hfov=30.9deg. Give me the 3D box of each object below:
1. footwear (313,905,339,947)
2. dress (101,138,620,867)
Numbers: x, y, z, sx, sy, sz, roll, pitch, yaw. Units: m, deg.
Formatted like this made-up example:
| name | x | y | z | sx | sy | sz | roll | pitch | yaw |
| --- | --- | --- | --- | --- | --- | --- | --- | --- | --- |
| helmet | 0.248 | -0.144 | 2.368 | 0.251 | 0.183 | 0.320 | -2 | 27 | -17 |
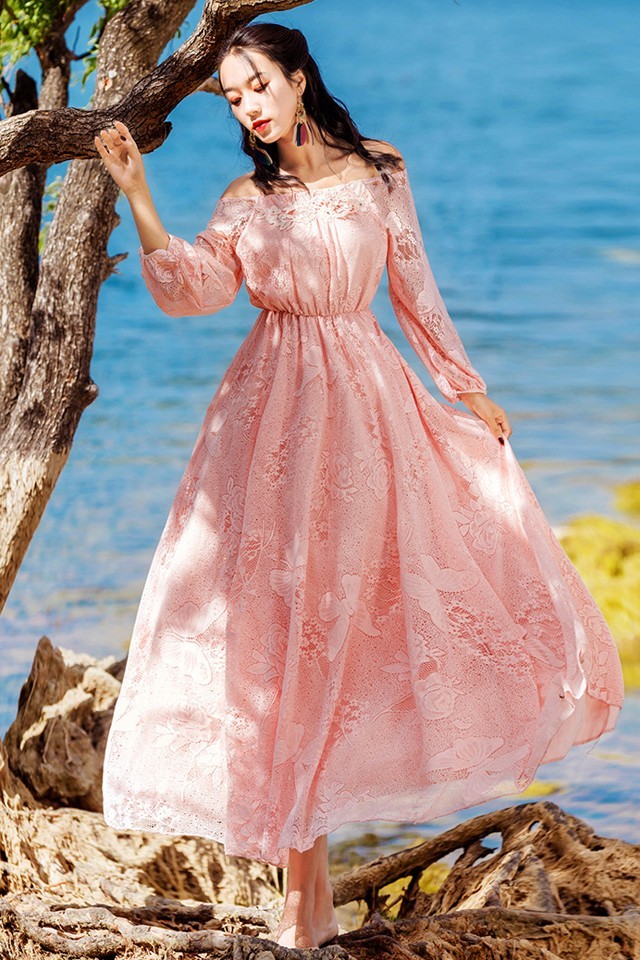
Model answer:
| name | x | y | z | sx | sy | sz | roll | pitch | yaw |
| --- | --- | --- | --- | --- | --- | --- | --- | --- | --- |
| footwear | 0.016 | 1.083 | 2.779 | 0.036 | 0.068 | 0.092 | -28 | -15 | 7 |
| dress | 0.097 | 0.071 | 2.786 | 1.073 | 1.417 | 1.251 | 10 | 31 | 30 |
